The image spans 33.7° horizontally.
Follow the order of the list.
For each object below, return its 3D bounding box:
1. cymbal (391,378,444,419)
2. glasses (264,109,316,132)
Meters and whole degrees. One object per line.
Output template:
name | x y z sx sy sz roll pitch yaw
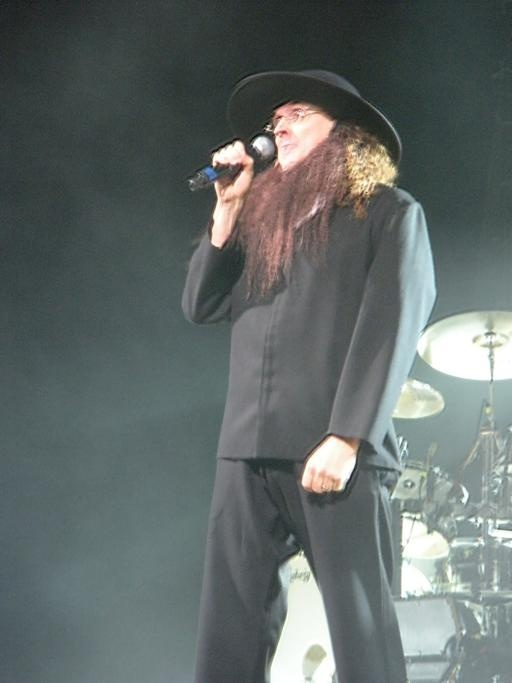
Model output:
cymbal | 0.504 0.191 2.601 0.169 0.029 0.163 34 -33 -18
glasses | 0.088 -0.539 2.046 0.130 0.038 0.035 -21 -34 0
